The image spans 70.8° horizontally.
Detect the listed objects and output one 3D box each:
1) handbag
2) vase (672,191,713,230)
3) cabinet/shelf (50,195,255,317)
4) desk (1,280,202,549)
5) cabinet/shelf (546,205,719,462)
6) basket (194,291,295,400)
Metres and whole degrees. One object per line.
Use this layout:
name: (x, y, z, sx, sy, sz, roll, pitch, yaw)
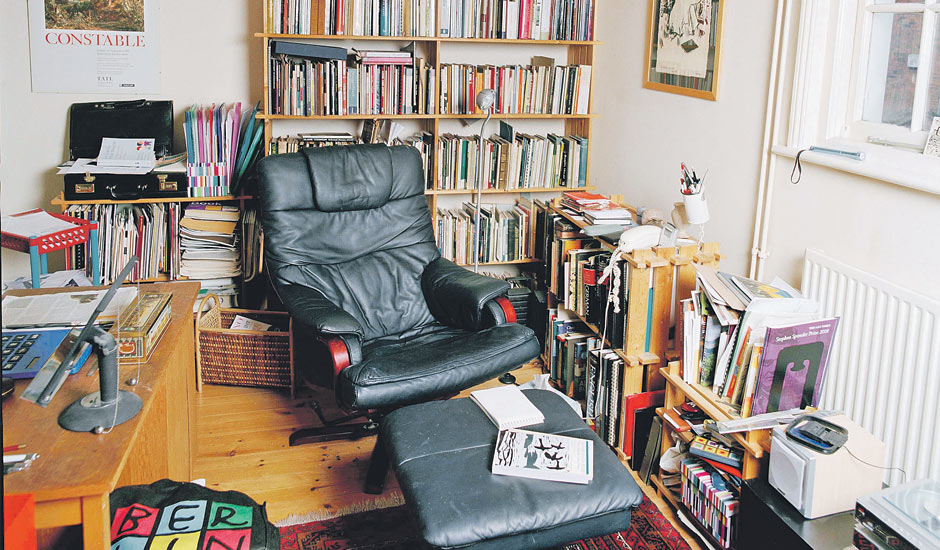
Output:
handbag: (-2.409, -0.986, 4.480, 0.514, 0.279, 0.065, -4, -3, -8)
vase: (1.156, -0.350, 3.482, 0.230, 0.202, 0.195, -5, 16, -20)
cabinet/shelf: (-1.954, -0.146, 4.004, 0.834, 0.721, 0.301, -2, 26, -1)
desk: (-1.401, 0.523, 2.469, 0.376, 0.461, 0.986, -3, 23, -14)
cabinet/shelf: (0.903, 0.314, 3.529, 0.551, 1.358, 1.370, 2, -7, -21)
basket: (-1.371, 0.418, 4.292, 0.778, 0.614, 0.536, 6, 11, -9)
